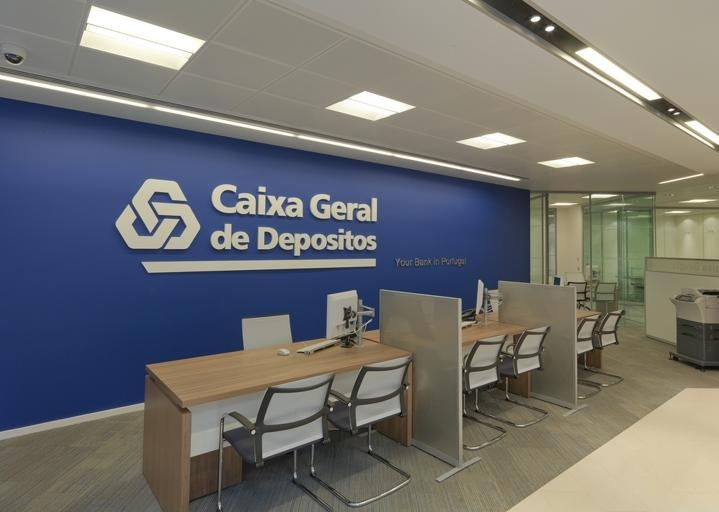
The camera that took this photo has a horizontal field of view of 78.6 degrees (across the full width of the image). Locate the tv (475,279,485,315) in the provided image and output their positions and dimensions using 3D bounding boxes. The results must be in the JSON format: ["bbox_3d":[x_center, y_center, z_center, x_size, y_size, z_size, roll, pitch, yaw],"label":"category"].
[{"bbox_3d":[1.856,0.640,6.814,0.086,0.807,0.672,2,-1,16],"label":"tv"}]
